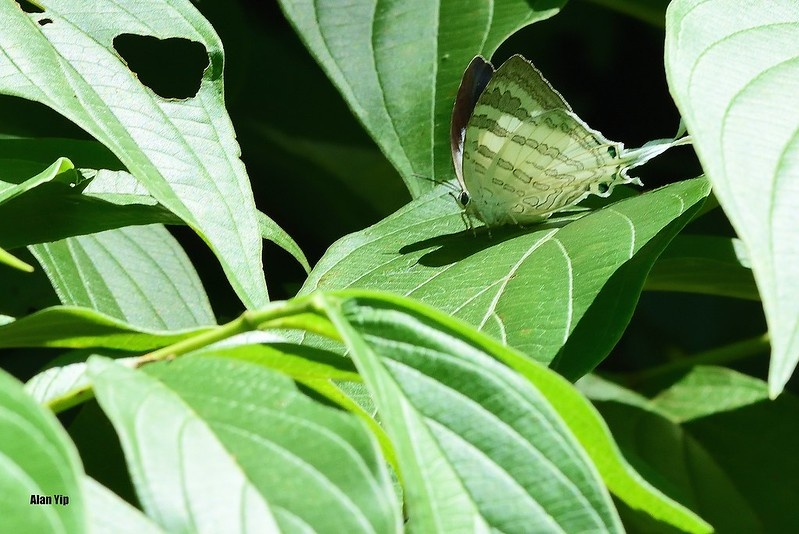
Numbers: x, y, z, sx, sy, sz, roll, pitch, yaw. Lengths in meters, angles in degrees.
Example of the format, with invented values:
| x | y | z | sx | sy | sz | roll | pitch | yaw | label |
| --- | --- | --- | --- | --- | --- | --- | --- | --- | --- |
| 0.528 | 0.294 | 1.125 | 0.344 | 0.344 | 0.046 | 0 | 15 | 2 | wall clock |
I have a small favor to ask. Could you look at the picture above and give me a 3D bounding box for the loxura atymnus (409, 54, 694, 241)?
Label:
| x | y | z | sx | sy | sz | roll | pitch | yaw | label |
| --- | --- | --- | --- | --- | --- | --- | --- | --- | --- |
| 0.197 | -0.146 | 1.277 | 0.317 | 0.194 | 0.281 | -2 | -7 | -14 | loxura atymnus |
